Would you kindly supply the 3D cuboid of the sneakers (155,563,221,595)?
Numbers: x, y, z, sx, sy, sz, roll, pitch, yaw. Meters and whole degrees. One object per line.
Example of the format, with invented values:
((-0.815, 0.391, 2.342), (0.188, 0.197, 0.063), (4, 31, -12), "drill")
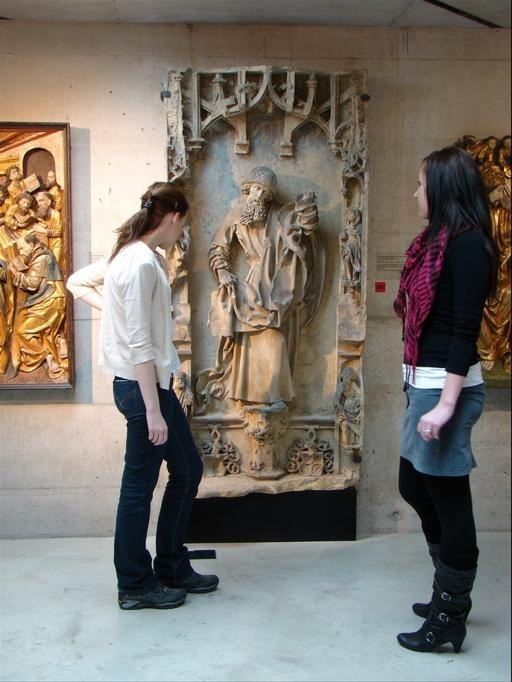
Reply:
((-0.287, 0.993, 3.784), (0.279, 0.129, 0.101), (-2, 1, -9), "sneakers")

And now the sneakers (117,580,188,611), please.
((-0.422, 1.037, 3.653), (0.265, 0.118, 0.102), (-1, -4, -10), "sneakers")

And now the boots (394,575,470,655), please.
((0.661, 1.005, 3.310), (0.252, 0.294, 0.129), (6, 6, 7), "boots")

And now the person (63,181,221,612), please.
((-0.431, 0.227, 3.598), (0.524, 1.700, 0.438), (1, 8, 3), "person")

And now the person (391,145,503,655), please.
((0.691, 0.226, 3.292), (0.318, 1.846, 0.495), (1, 8, 6), "person")
